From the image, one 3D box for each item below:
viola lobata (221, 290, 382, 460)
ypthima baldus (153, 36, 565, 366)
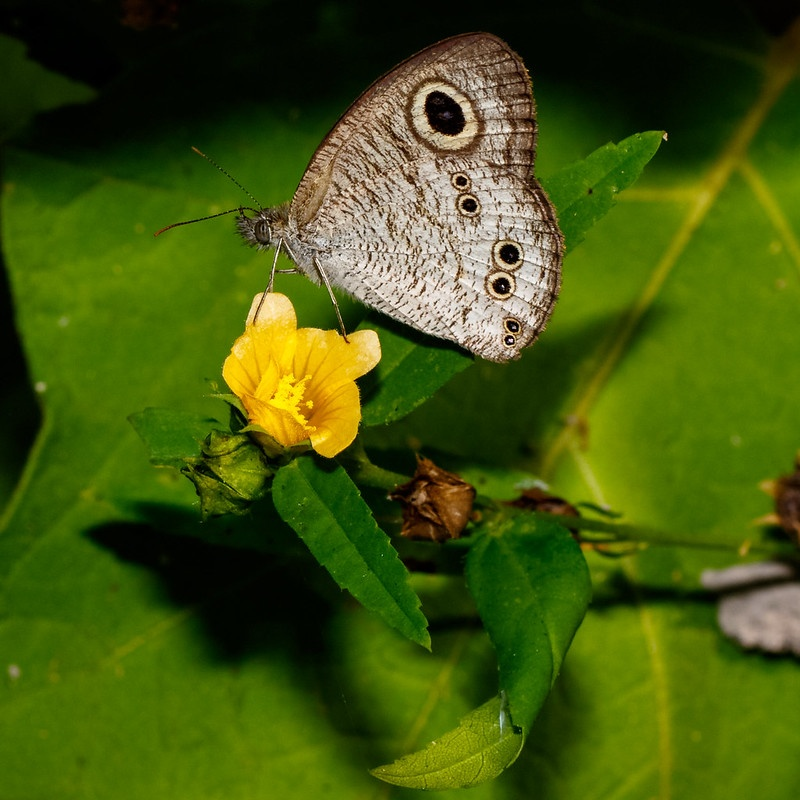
[{"bbox_3d":[-0.176,-0.042,1.610,0.250,0.180,0.284,10,34,2],"label":"viola lobata"},{"bbox_3d":[0.059,-0.392,1.759,0.563,0.573,0.326,24,40,19],"label":"ypthima baldus"}]
